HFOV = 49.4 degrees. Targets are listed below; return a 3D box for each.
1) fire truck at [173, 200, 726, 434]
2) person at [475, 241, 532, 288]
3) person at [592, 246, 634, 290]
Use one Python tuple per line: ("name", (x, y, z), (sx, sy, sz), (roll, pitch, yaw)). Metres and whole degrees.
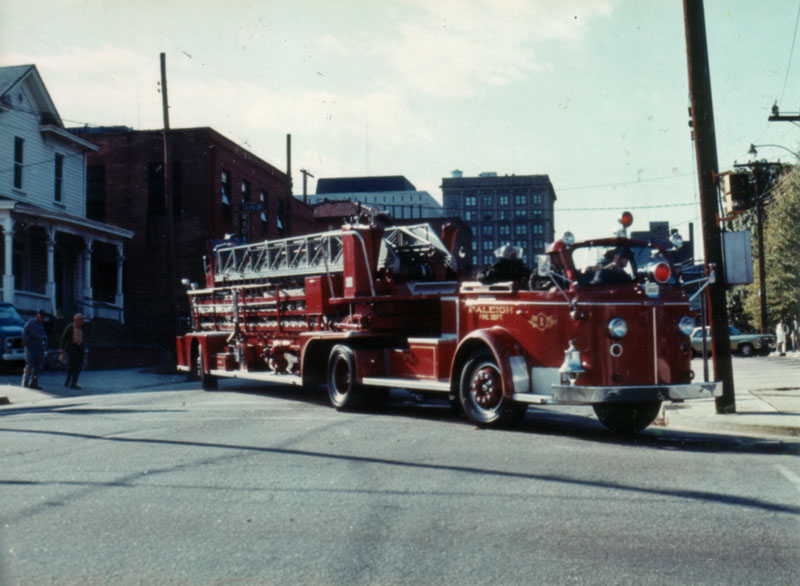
("fire truck", (-0.183, 0.576, 16.633), (3.225, 3.574, 11.523), (2, -4, -31))
("person", (1.619, -0.418, 13.670), (0.775, 0.578, 0.498), (1, -3, 22))
("person", (3.160, -0.404, 12.834), (0.765, 0.555, 0.313), (-1, -4, -29))
